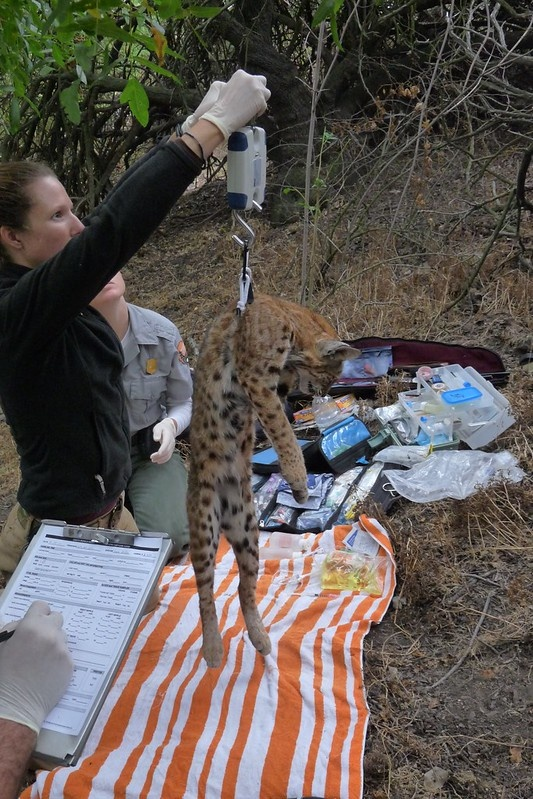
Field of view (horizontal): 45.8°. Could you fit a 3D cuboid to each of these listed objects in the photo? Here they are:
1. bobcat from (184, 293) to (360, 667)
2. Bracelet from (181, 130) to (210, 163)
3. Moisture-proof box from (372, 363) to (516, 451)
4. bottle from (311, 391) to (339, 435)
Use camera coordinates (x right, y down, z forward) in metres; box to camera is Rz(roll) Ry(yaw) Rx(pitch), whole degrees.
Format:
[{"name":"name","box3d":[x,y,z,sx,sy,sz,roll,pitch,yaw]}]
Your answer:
[{"name":"bobcat","box3d":[-0.179,0.314,2.756,0.867,1.490,0.858,15,30,-5]},{"name":"Bracelet","box3d":[-0.194,-0.706,1.802,0.023,0.087,0.078,-40,32,19]},{"name":"Moisture-proof box","box3d":[1.211,0.065,4.129,0.651,0.334,0.604,-17,34,-8]},{"name":"bottle","box3d":[0.413,0.103,4.526,0.188,0.176,0.273,-27,64,-11]}]
